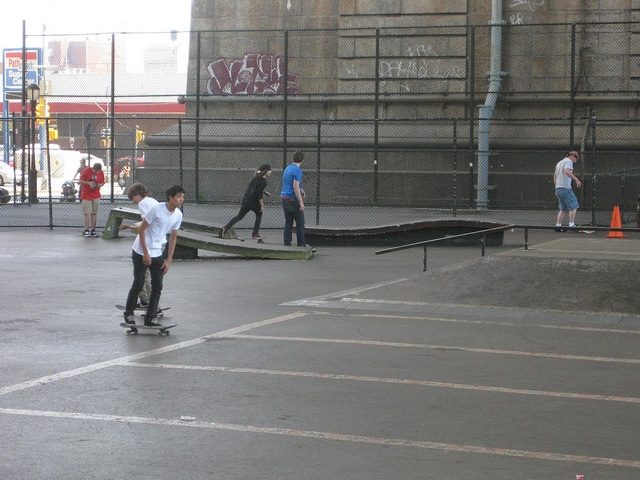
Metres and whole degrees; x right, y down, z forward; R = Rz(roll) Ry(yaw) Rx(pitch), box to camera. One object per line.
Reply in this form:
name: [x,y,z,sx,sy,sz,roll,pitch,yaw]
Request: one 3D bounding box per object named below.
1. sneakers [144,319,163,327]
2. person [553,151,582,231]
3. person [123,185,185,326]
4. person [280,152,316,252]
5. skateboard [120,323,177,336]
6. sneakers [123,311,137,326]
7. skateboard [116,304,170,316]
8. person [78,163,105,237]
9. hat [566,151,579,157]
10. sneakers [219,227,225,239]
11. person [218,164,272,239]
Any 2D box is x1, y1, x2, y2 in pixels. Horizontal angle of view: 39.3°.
sneakers: [-2.169,1.055,11.606,0.246,0.097,0.088,2,5,19]
person: [5.763,-1.178,21.138,0.577,1.783,1.572,3,9,14]
person: [-2.166,0.195,11.626,0.750,1.832,0.532,-1,9,-13]
person: [-0.577,-0.864,18.991,0.544,2.026,1.411,1,9,-1]
skateboard: [-2.220,1.125,11.563,0.718,0.122,0.258,2,8,4]
sneakers: [-2.474,1.015,11.685,0.085,0.101,0.253,0,-1,-25]
skateboard: [-2.416,0.936,12.121,0.858,0.204,0.147,3,-16,33]
person: [-5.575,-0.978,21.862,0.544,1.834,1.059,-1,9,-13]
hat: [5.953,-2.040,21.225,0.280,0.212,0.374,-1,3,-1]
sneakers: [-2.191,-0.167,19.958,0.127,0.243,0.177,4,18,-32]
person: [-1.596,-0.830,19.947,1.101,1.707,0.990,-5,11,-34]
